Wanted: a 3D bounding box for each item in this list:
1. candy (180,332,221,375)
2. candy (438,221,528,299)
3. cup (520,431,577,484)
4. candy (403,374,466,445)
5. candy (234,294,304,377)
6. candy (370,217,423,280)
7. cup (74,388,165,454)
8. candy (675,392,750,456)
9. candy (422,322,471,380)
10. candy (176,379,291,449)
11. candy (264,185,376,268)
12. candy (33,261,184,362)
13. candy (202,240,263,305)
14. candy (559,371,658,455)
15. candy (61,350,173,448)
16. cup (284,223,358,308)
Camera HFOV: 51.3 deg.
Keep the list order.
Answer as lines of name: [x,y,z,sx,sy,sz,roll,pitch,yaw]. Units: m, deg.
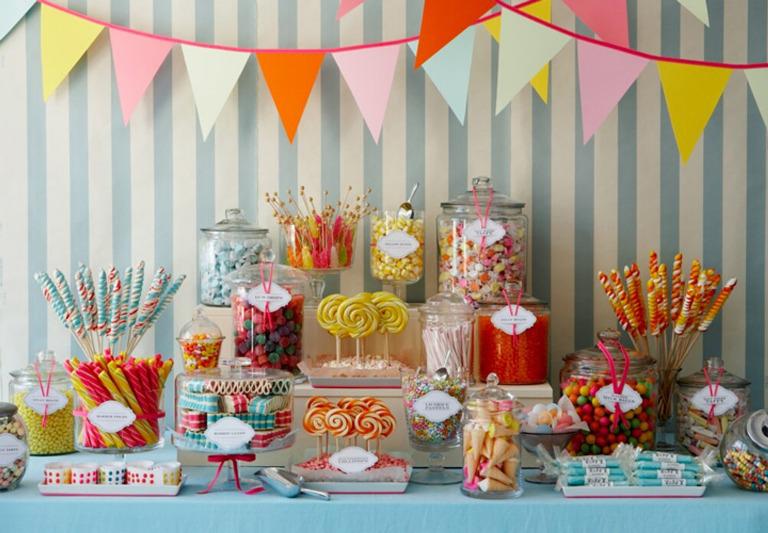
candy: [-0.639,0.292,2.793,0.136,0.110,0.143,-1,-2,26]
candy: [0.341,-0.028,2.835,0.266,0.317,0.279,1,-3,-1]
cup: [0.521,0.595,2.596,0.163,0.136,0.176,1,-2,0]
candy: [0.152,0.445,2.590,0.204,0.231,0.197,1,-1,-35]
candy: [-0.381,0.221,2.679,0.230,0.283,0.242,0,-2,12]
candy: [0.043,-0.063,2.873,0.204,0.250,0.204,0,-1,8]
cup: [-0.871,0.472,2.567,0.190,0.154,0.201,0,0,0]
candy: [1.085,0.487,2.692,0.205,0.244,0.202,0,0,-38]
candy: [0.211,0.275,2.677,0.158,0.185,0.165,0,1,-5]
candy: [-0.461,0.410,2.477,0.237,0.148,0.248,-1,-2,23]
candy: [-0.240,-0.124,3.006,0.344,0.262,0.313,-1,0,-37]
candy: [-0.997,0.163,2.887,0.525,0.350,0.530,-3,5,-9]
candy: [-0.557,0.016,2.964,0.218,0.259,0.229,1,-2,11]
candy: [0.724,0.439,2.600,0.248,0.293,0.259,-2,-3,24]
candy: [-0.840,0.411,2.566,0.283,0.303,0.296,0,-2,0]
cup: [-0.231,-0.002,2.911,0.261,0.328,0.286,0,-3,0]
